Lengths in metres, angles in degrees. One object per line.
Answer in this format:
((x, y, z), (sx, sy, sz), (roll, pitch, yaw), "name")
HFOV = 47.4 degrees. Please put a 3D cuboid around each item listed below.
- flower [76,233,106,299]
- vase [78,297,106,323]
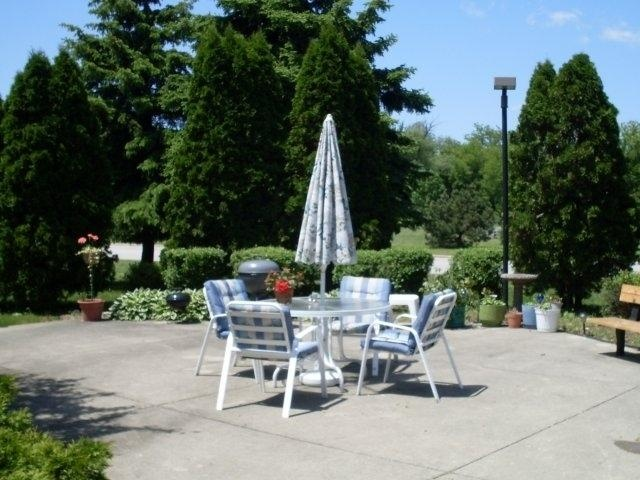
((-5.446, 0.644, 17.564), (0.632, 1.729, 1.259), (-4, 12, -17), "flower")
((-5.178, 1.575, 16.595), (0.493, 0.402, 0.495), (-1, 2, -35), "vase")
